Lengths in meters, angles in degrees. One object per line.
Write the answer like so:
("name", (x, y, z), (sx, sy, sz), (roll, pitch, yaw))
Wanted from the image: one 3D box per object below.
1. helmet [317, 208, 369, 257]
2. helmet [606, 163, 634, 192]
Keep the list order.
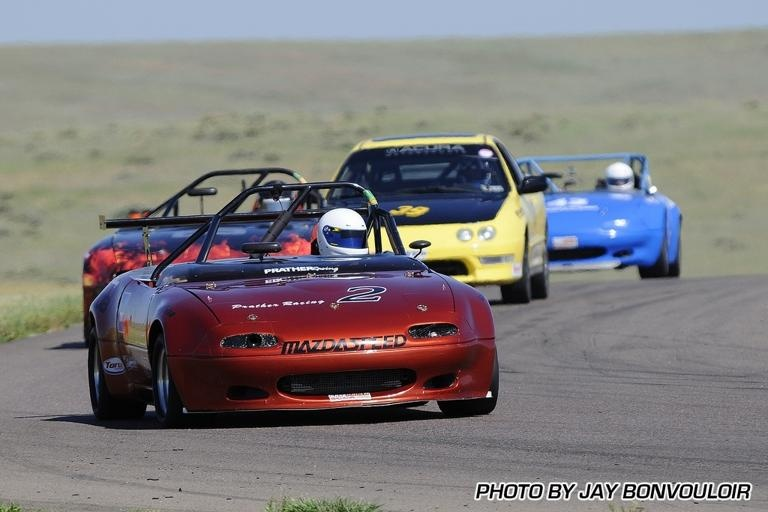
("helmet", (-0.349, -0.197, 9.997), (0.446, 0.368, 0.528), (2, 12, -21))
("helmet", (3.946, -1.346, 19.462), (0.491, 0.420, 0.598), (-1, -4, 8))
